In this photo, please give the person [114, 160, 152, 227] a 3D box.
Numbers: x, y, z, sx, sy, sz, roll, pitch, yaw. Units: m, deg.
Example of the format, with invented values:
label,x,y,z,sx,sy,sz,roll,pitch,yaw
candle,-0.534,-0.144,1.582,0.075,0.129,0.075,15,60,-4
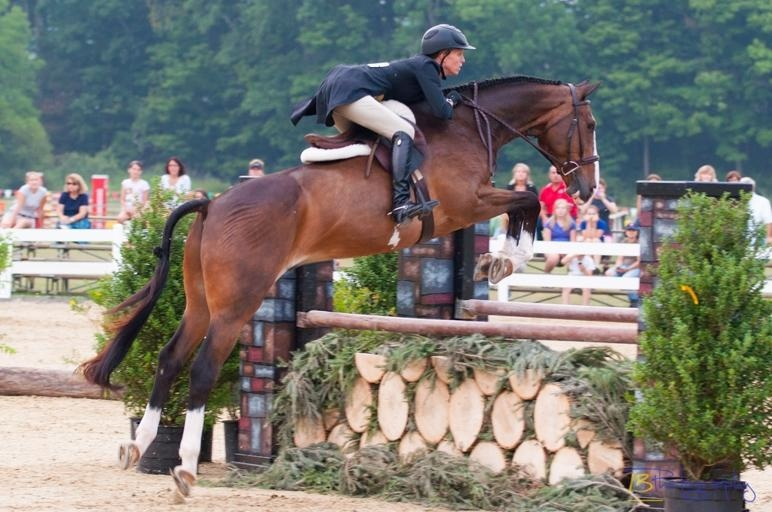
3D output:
label,x,y,z,sx,sy,sz,roll,pitch,yaw
person,-8.547,-1.912,66.820,1.242,2.514,1.563,2,3,-3
